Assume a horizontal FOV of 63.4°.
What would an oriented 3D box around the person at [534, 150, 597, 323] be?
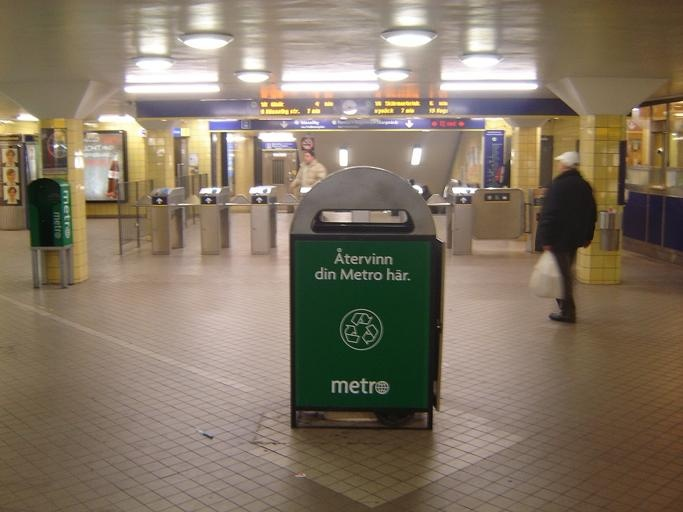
[{"bbox_3d":[2.842,-0.206,7.074,0.473,2.213,0.968,7,12,37],"label":"person"}]
